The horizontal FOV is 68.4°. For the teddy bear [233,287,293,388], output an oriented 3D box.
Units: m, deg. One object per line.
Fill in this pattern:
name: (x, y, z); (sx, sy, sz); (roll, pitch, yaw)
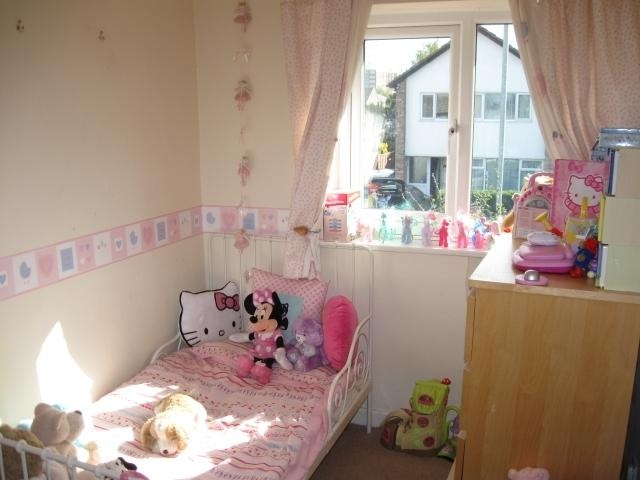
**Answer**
teddy bear: (-0.366, 0.591, 2.958); (0.380, 0.562, 0.270); (8, 9, 32)

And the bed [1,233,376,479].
bed: (-0.727, 0.477, 2.681); (1.113, 1.115, 1.582); (9, 19, 29)

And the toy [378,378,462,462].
toy: (0.657, 1.146, 3.100); (0.505, 0.484, 0.346); (-1, -8, 32)

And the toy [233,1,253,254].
toy: (-0.531, -0.783, 3.260); (0.142, 1.673, 0.108); (0, 7, 0)

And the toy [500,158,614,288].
toy: (1.182, -0.096, 2.354); (0.372, 0.731, 0.165); (13, -24, 16)

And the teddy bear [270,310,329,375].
teddy bear: (-0.100, 0.589, 2.998); (0.273, 0.452, 0.321); (-2, 5, -45)
